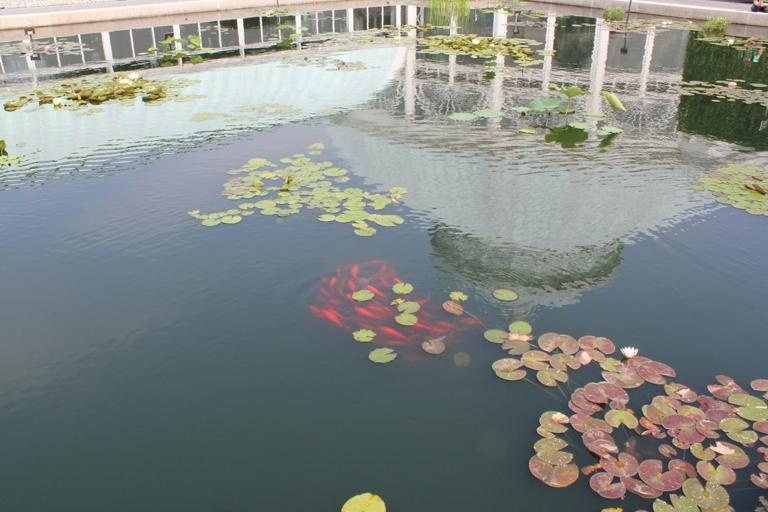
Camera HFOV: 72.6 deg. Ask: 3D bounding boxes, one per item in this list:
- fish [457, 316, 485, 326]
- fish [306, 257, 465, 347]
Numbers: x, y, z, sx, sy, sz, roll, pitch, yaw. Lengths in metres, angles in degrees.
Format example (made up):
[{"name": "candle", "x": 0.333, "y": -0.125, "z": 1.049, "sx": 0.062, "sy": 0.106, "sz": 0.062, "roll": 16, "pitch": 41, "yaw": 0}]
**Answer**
[{"name": "fish", "x": 0.542, "y": 0.404, "z": 3.249, "sx": 0.140, "sy": 0.031, "sz": 0.068, "roll": 3, "pitch": 21, "yaw": 8}, {"name": "fish", "x": 0.016, "y": 0.327, "z": 3.345, "sx": 0.925, "sy": 0.113, "sz": 0.435, "roll": 9, "pitch": 39, "yaw": 17}]
